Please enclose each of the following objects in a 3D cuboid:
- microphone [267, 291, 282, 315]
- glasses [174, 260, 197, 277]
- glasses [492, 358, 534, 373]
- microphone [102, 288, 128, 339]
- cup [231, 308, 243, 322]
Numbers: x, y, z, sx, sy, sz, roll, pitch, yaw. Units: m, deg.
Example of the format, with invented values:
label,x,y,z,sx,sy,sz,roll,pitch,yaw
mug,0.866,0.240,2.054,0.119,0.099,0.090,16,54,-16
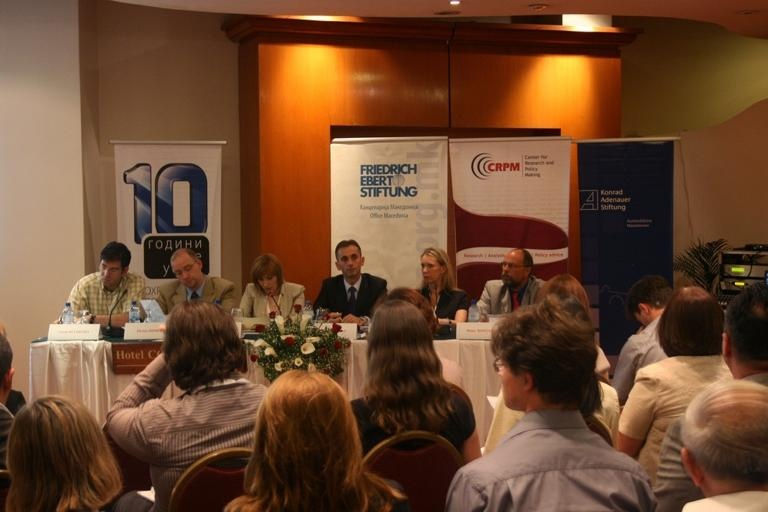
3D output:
label,x,y,z,sx,sy,sz,roll,pitch,yaw
microphone,-1.003,0.430,6.331,0.152,0.234,0.060,0,-2,-5
glasses,-1.770,0.123,6.225,0.117,0.122,0.158,-15,-8,-1
glasses,0.517,0.433,2.785,0.074,0.030,0.093,6,3,-7
microphone,-2.253,0.489,5.932,0.278,0.406,0.130,-18,-24,36
cup,-1.325,0.532,6.343,0.107,0.120,0.112,1,-1,0
